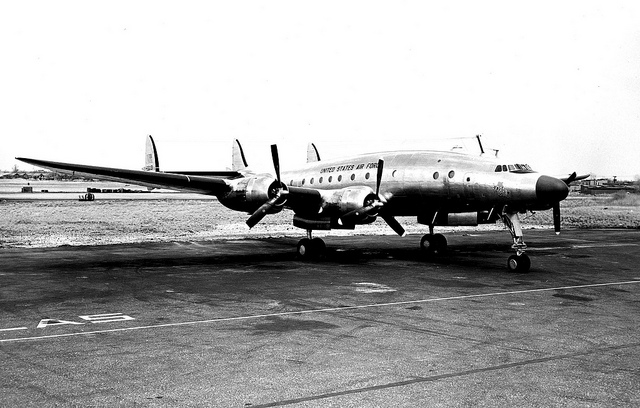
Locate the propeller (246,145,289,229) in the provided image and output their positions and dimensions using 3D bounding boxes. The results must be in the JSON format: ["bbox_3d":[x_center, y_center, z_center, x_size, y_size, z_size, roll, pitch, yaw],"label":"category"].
[{"bbox_3d":[-2.277,-0.743,22.836,1.570,3.535,1.347,2,4,21],"label":"propeller"}]
